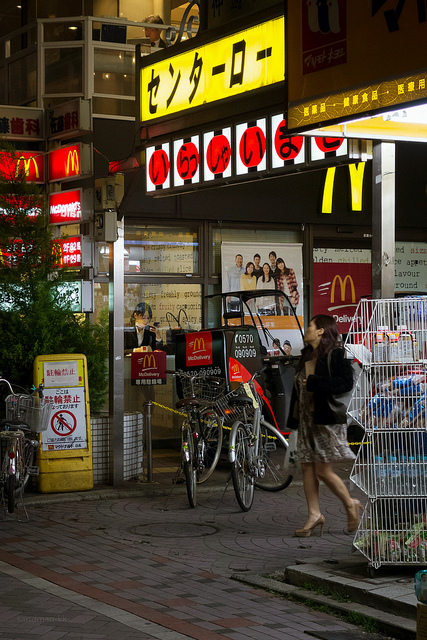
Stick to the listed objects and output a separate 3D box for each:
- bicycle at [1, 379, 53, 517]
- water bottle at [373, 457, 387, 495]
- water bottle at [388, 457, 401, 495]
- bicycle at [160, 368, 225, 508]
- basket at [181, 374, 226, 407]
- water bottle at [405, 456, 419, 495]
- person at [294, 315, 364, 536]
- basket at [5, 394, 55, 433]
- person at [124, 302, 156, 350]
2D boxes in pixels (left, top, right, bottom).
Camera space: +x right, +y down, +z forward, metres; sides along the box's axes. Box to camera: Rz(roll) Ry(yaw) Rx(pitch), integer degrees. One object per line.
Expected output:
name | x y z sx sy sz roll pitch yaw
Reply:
bicycle | -1.871 1.266 6.209 0.454 1.299 0.982 1 -10 -15
water bottle | 0.968 0.901 3.552 0.066 0.206 0.044 -3 -10 9
water bottle | 1.039 0.901 3.549 0.062 0.205 0.059 -1 -10 0
bicycle | -0.221 1.108 6.545 0.667 1.001 1.629 -1 7 0
basket | -0.093 0.799 7.063 0.302 0.238 0.459 1 -3 -40
water bottle | 1.132 0.916 3.527 0.078 0.167 0.025 -3 -10 8
person | 0.837 0.804 4.689 0.503 1.733 0.877 -3 -10 12
basket | -1.828 0.944 6.217 0.455 0.352 0.328 -3 -6 31
person | -1.234 0.096 10.527 0.517 0.783 0.185 0 -10 -7
